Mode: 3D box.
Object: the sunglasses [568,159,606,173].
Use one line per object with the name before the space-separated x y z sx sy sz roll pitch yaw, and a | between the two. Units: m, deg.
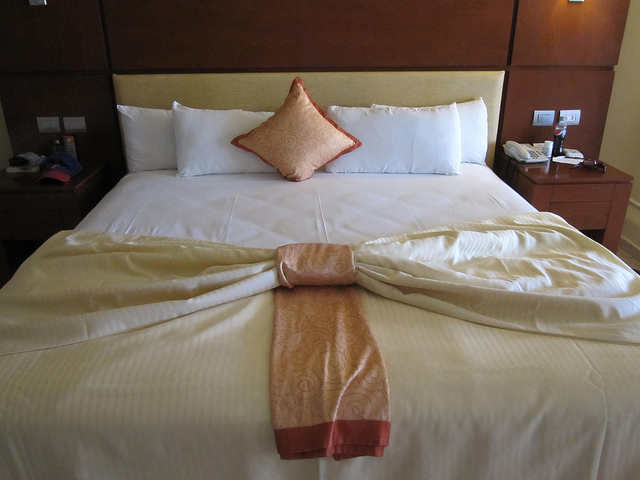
sunglasses | 1.678 -0.470 3.100 0.212 0.053 0.093 13 27 22
